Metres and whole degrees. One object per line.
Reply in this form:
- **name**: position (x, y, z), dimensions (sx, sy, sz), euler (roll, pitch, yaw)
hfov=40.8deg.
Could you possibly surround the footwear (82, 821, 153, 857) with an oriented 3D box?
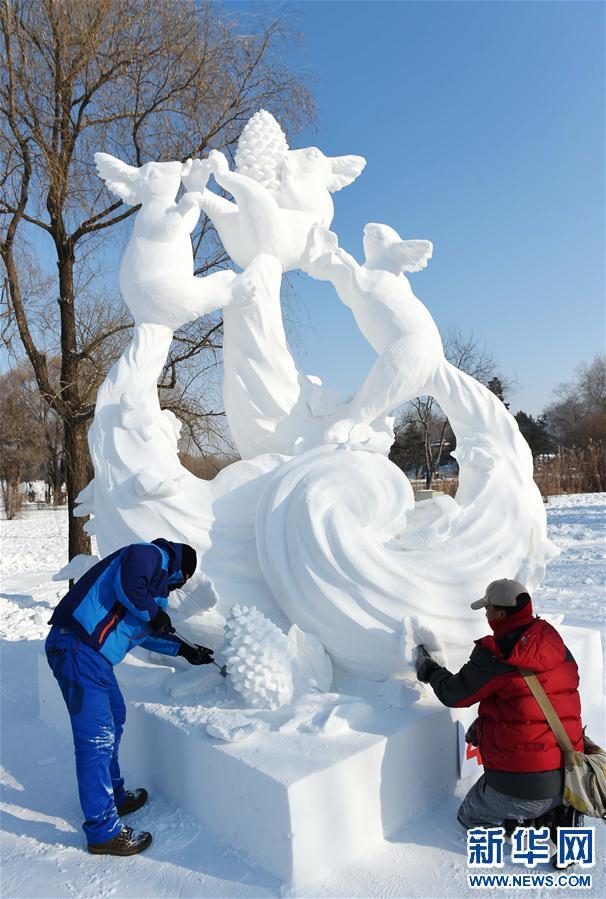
- **footwear**: position (-0.709, 1.482, 3.119), dimensions (0.234, 0.095, 0.098), euler (1, -8, -13)

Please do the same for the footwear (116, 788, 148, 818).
- **footwear**: position (-0.708, 1.480, 3.416), dimensions (0.054, 0.053, 0.142), euler (11, 8, 30)

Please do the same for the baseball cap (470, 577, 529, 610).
- **baseball cap**: position (0.735, 0.542, 3.066), dimensions (0.186, 0.092, 0.115), euler (-5, -6, 26)

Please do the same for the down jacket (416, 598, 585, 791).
- **down jacket**: position (0.712, 0.914, 3.000), dimensions (0.371, 0.800, 0.395), euler (0, -1, 34)

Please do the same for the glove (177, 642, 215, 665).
- **glove**: position (-0.462, 0.903, 3.623), dimensions (0.165, 0.103, 0.068), euler (12, -22, -19)

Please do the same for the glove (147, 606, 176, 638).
- **glove**: position (-0.578, 0.690, 3.272), dimensions (0.056, 0.107, 0.150), euler (-29, 11, -16)
